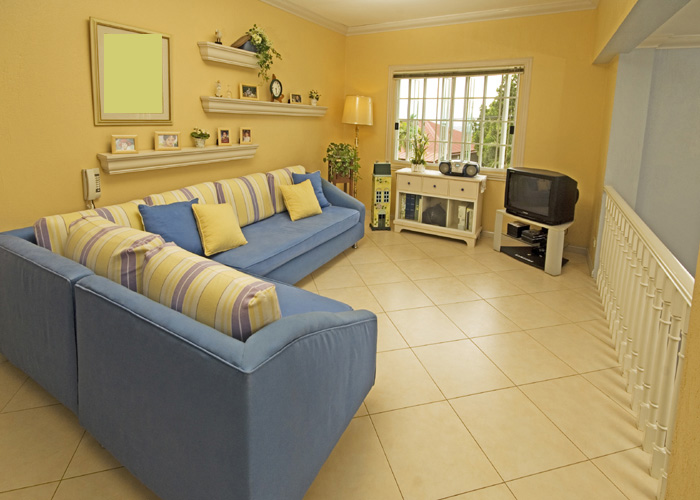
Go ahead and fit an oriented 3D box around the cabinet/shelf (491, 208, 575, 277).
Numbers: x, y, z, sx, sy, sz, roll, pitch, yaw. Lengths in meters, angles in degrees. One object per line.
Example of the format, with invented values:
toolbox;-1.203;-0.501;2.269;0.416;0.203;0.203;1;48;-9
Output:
cabinet/shelf;2.117;-0.160;5.637;0.546;0.538;1.150;-5;19;-17

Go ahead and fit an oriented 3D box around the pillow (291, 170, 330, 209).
pillow;-0.482;-0.703;5.678;0.220;0.411;0.434;8;17;35

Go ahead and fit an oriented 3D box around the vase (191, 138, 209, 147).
vase;-1.539;-1.095;4.870;0.098;0.095;0.145;-11;22;-33

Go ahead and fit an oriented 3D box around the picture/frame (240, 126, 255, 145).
picture/frame;-1.194;-1.318;5.506;0.081;0.233;0.220;9;17;29

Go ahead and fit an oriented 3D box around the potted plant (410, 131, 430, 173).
potted plant;0.967;-1.371;6.601;0.216;0.495;0.675;4;18;8

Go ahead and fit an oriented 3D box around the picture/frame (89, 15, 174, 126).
picture/frame;-1.853;-1.511;3.996;0.071;1.131;0.933;11;16;29

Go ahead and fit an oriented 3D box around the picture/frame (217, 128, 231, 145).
picture/frame;-1.379;-1.236;5.205;0.010;0.180;0.171;10;18;25

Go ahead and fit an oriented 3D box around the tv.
tv;2.203;-0.646;5.446;0.676;0.579;0.731;-14;21;-23

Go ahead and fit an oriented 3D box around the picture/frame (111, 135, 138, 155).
picture/frame;-2.007;-0.933;4.231;0.024;0.151;0.184;3;10;33

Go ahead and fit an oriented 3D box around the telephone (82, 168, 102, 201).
telephone;-2.203;-0.560;4.066;0.078;0.328;0.190;7;16;18

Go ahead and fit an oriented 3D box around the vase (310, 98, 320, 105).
vase;-0.479;-2.010;6.513;0.099;0.078;0.101;11;18;35

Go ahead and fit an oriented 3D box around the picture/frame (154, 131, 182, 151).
picture/frame;-1.750;-1.049;4.584;0.245;0.165;0.148;-10;21;-31

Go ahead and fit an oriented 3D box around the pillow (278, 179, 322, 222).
pillow;-0.579;-0.568;5.436;0.139;0.441;0.452;-28;-7;42

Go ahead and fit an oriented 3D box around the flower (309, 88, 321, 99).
flower;-0.485;-2.110;6.498;0.124;0.090;0.151;6;31;-7

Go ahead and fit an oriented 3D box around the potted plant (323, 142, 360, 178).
potted plant;-0.115;-1.284;6.701;0.473;0.501;0.493;2;20;-2

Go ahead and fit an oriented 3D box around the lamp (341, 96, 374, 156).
lamp;0.124;-1.871;7.035;0.440;0.777;0.508;3;18;8
